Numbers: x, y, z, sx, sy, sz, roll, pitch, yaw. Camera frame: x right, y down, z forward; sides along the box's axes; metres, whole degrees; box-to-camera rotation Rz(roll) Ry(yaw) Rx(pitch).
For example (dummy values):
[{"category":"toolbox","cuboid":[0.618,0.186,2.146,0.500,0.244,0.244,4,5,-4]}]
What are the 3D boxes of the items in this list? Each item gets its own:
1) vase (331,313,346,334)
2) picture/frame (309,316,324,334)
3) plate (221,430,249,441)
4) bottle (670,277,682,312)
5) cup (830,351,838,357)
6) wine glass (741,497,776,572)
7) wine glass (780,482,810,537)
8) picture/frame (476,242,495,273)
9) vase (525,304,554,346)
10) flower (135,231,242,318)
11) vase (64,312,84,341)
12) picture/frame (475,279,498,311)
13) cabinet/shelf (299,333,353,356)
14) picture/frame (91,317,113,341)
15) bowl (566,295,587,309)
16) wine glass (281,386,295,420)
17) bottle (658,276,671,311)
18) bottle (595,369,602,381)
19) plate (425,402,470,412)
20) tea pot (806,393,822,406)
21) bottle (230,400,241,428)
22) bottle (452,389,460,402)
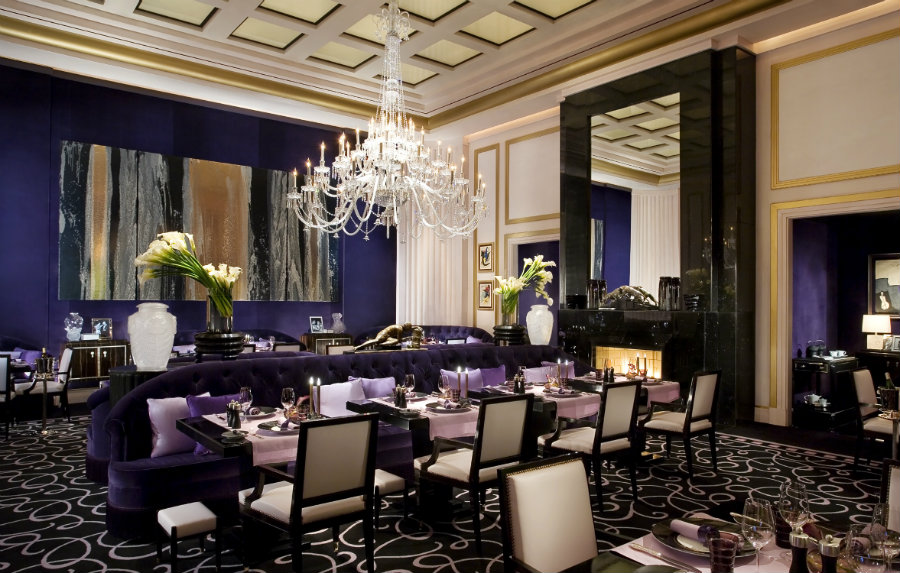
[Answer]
[{"category":"vase","cuboid":[-2.329,0.723,13.123,0.286,0.388,0.425,-1,-2,-9]},{"category":"picture/frame","cuboid":[-2.755,0.781,12.818,0.314,0.353,0.060,12,-35,-28]},{"category":"plate","cuboid":[-1.945,1.334,5.639,0.217,0.059,0.174,-1,-2,-3]},{"category":"bottle","cuboid":[3.471,0.091,9.640,0.139,0.493,0.134,-1,-2,0]},{"category":"cup","cuboid":[6.042,1.053,9.852,0.127,0.086,0.073,2,6,-27]},{"category":"wine glass","cuboid":[2.072,1.647,4.168,0.308,0.458,0.172,0,-2,-31]},{"category":"wine glass","cuboid":[2.349,1.487,4.272,0.182,0.328,0.260,-2,-2,28]},{"category":"picture/frame","cuboid":[0.755,-0.632,13.134,0.096,0.599,0.417,0,-2,-38]},{"category":"vase","cuboid":[1.387,0.581,9.729,0.532,0.845,0.579,1,-1,9]},{"category":"flower","cuboid":[-3.925,-0.174,9.185,1.475,0.952,0.798,29,-45,-32]},{"category":"vase","cuboid":[-6.341,0.647,10.546,0.285,0.445,0.425,0,-2,-32]},{"category":"picture/frame","cuboid":[0.768,0.157,12.952,0.625,0.851,0.062,-3,-4,43]},{"category":"cabinet/shelf","cuboid":[-2.417,1.061,12.103,1.022,0.574,0.959,5,5,-13]},{"category":"picture/frame","cuboid":[-5.986,0.724,10.712,0.404,0.544,0.062,-1,-31,-24]},{"category":"bowl","cuboid":[2.169,0.262,10.754,0.240,0.172,0.245,0,0,0]},{"category":"wine glass","cuboid":[-1.568,1.116,6.029,0.196,0.285,0.123,-3,-2,37]},{"category":"bottle","cuboid":[3.351,0.085,9.763,0.153,0.510,0.181,-1,-2,-20]},{"category":"bottle","cuboid":[1.919,1.144,8.032,0.099,0.100,0.099,0,0,17]},{"category":"plate","cuboid":[-0.041,1.246,6.450,0.462,0.074,0.288,-2,-2,26]},{"category":"tea pot","cuboid":[5.519,1.721,9.510,0.154,0.159,0.235,5,-7,-34]},{"category":"bottle","cuboid":[-1.996,1.191,5.824,0.083,0.236,0.139,-1,-2,-17]},{"category":"bottle","cuboid":[0.060,1.148,6.617,0.096,0.141,0.105,0,-4,0]}]
